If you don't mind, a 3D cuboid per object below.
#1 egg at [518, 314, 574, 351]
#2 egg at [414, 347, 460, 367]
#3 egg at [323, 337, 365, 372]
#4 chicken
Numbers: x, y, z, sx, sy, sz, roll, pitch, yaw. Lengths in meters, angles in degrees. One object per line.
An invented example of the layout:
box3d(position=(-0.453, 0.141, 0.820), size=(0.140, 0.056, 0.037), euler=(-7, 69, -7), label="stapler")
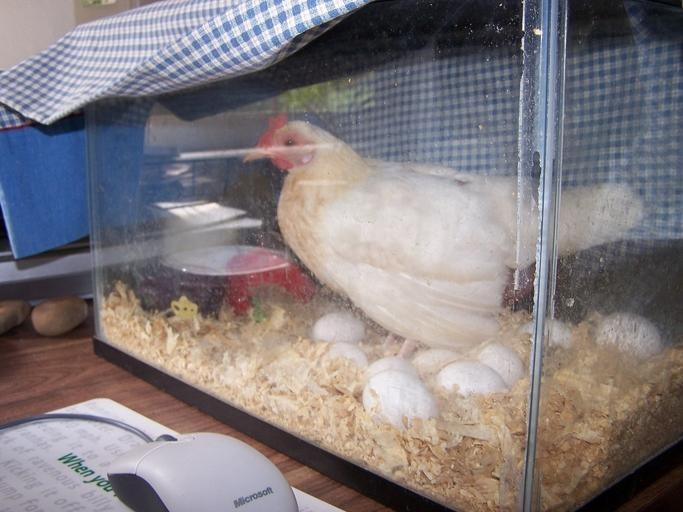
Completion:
box3d(position=(0.255, 0.092, 0.846), size=(0.073, 0.051, 0.030), euler=(-3, 9, -14), label="egg")
box3d(position=(0.124, 0.137, 0.917), size=(0.045, 0.028, 0.027), euler=(-4, 14, 20), label="egg")
box3d(position=(0.001, 0.139, 0.978), size=(0.044, 0.028, 0.031), euler=(27, -20, 21), label="egg")
box3d(position=(0.160, -0.072, 1.035), size=(0.502, 0.396, 0.269), euler=(-4, 18, 21), label="chicken")
